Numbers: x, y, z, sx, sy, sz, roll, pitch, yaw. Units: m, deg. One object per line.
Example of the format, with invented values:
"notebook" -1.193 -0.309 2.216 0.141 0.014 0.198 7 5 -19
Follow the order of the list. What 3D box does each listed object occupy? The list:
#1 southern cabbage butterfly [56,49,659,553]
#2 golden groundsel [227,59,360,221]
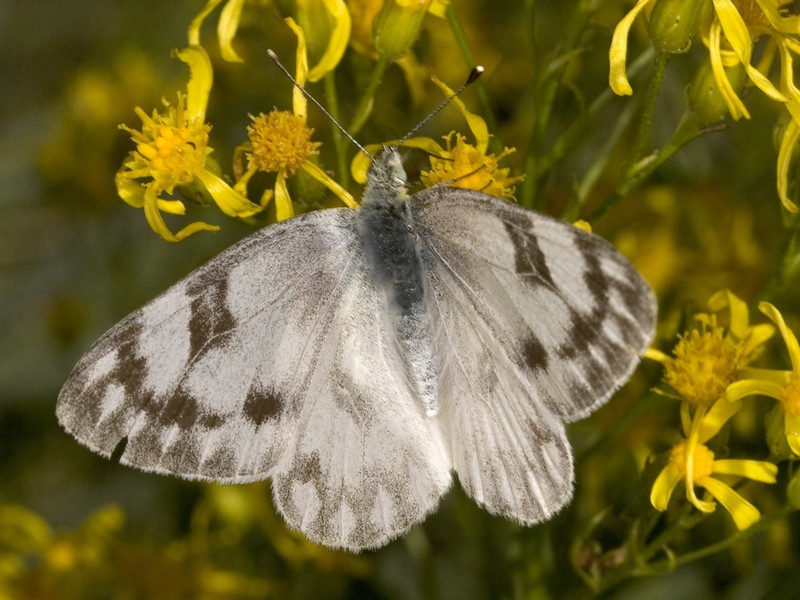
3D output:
"southern cabbage butterfly" -0.041 0.045 1.414 0.740 0.765 0.253 -4 11 10
"golden groundsel" -0.171 -0.211 1.413 0.118 0.280 0.143 -4 30 -6
